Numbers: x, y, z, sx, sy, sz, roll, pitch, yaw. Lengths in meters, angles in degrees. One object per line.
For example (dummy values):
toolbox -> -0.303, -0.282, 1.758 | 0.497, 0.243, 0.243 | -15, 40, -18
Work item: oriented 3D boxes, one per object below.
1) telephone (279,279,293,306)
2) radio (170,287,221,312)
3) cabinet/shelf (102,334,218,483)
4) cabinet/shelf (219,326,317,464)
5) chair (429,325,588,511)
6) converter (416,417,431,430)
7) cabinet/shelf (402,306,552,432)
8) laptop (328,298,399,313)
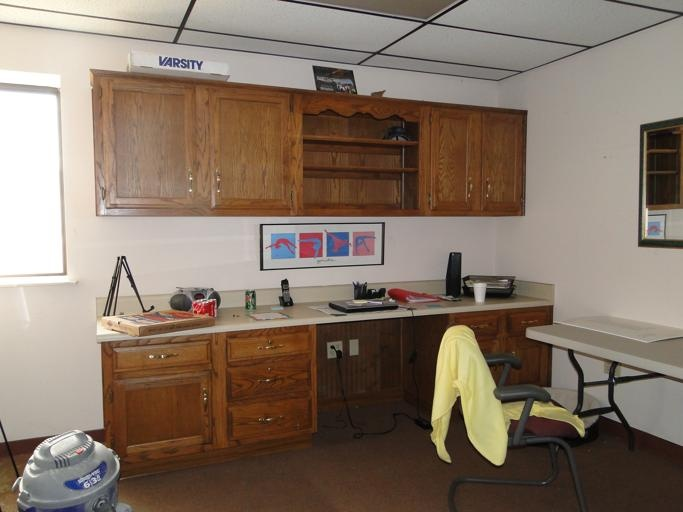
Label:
telephone -> -0.443, 0.295, 4.189 | 0.104, 0.195, 0.116 | -2, 12, -7
radio -> -1.110, 0.295, 3.838 | 0.229, 0.139, 0.225 | 2, 0, -42
cabinet/shelf -> -1.230, 0.943, 3.727 | 0.766, 1.006, 0.501 | -3, 14, -18
cabinet/shelf -> -0.622, 0.936, 3.951 | 0.734, 0.952, 0.627 | -2, 5, -23
chair -> 0.944, 0.936, 3.044 | 0.847, 1.046, 0.451 | -3, 12, -15
converter -> 0.651, 1.338, 4.219 | 0.124, 0.031, 0.132 | -1, 6, -32
cabinet/shelf -> 1.229, 0.862, 4.537 | 1.046, 0.932, 0.570 | -6, 8, -25
laptop -> 0.159, 0.366, 4.076 | 0.492, 0.048, 0.358 | -5, 12, -22
